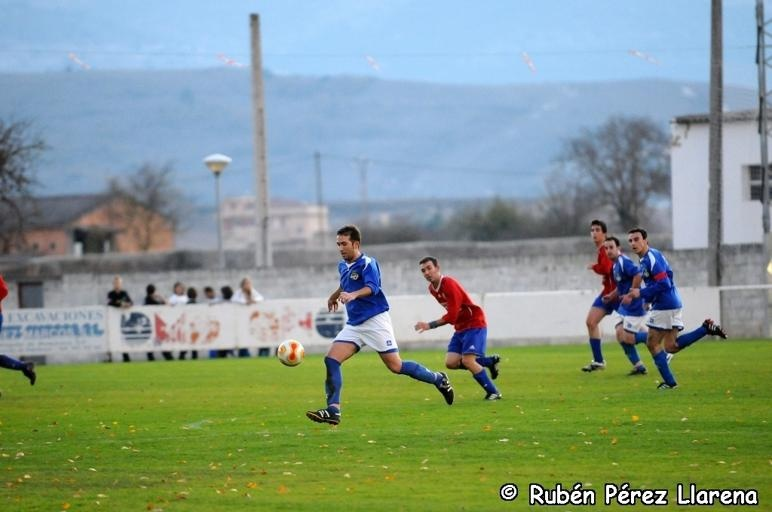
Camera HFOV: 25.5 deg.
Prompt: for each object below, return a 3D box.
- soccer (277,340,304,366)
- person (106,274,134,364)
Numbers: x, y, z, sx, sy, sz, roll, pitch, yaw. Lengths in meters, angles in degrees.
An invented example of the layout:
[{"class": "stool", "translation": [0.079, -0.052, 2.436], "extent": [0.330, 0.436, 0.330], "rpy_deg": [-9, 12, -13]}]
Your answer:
[{"class": "soccer", "translation": [-2.236, 2.222, 40.149], "extent": [0.651, 0.620, 0.633], "rpy_deg": [-2, 3, -4]}, {"class": "person", "translation": [-7.611, 1.141, 48.113], "extent": [0.790, 2.404, 0.768], "rpy_deg": [1, -4, 10]}]
